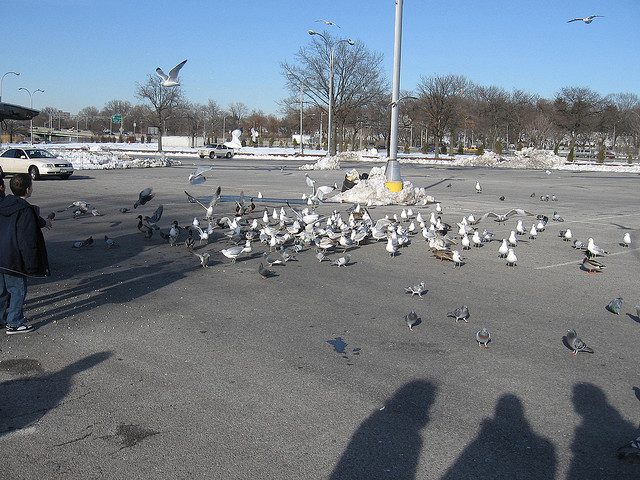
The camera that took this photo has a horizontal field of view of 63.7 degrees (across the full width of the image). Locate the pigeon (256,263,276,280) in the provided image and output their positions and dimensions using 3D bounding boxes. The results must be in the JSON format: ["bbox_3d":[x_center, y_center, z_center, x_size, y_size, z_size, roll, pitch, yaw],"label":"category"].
[{"bbox_3d":[-1.095,0.630,10.247,0.149,0.422,0.499,7,9,34],"label":"pigeon"}]

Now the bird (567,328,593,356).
[{"bbox_3d":[3.507,1.405,7.097,0.380,0.418,0.250,9,-10,0],"label":"bird"}]

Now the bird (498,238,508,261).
[{"bbox_3d":[4.261,0.224,11.947,0.188,0.386,0.507,5,15,20],"label":"bird"}]

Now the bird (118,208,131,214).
[{"bbox_3d":[-6.577,-0.983,17.437,0.288,0.208,0.107,-2,-7,27],"label":"bird"}]

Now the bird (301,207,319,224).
[{"bbox_3d":[-0.219,-0.570,12.693,0.273,0.344,0.556,2,-3,29],"label":"bird"}]

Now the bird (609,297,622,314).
[{"bbox_3d":[4.887,1.103,8.503,0.146,0.209,0.306,7,28,28],"label":"bird"}]

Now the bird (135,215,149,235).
[{"bbox_3d":[-4.649,-0.327,13.505,0.240,0.587,1.066,-5,15,-20],"label":"bird"}]

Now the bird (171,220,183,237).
[{"bbox_3d":[-3.858,-0.281,13.850,0.228,0.470,0.417,1,9,8],"label":"bird"}]

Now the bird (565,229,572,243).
[{"bbox_3d":[6.643,-0.104,13.791,0.151,0.310,0.487,7,16,26],"label":"bird"}]

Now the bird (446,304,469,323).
[{"bbox_3d":[2.219,1.173,8.204,0.178,0.260,0.352,-5,7,-31],"label":"bird"}]

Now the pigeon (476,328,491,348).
[{"bbox_3d":[2.303,1.387,7.263,0.122,0.216,0.341,1,12,6],"label":"pigeon"}]

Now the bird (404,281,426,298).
[{"bbox_3d":[1.722,0.869,9.213,0.420,0.322,0.170,8,-8,1],"label":"bird"}]

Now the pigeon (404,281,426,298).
[{"bbox_3d":[1.693,0.893,9.270,0.366,0.227,0.434,4,15,14],"label":"pigeon"}]

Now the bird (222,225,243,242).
[{"bbox_3d":[-2.016,-0.143,11.968,0.278,0.334,0.452,-2,15,-10],"label":"bird"}]

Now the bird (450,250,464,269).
[{"bbox_3d":[2.929,0.384,11.130,0.229,0.350,0.455,3,2,35],"label":"bird"}]

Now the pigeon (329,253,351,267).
[{"bbox_3d":[0.481,0.446,11.193,0.378,0.268,0.506,-5,16,-22],"label":"pigeon"}]

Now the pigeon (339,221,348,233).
[{"bbox_3d":[0.578,-0.355,12.791,0.072,0.214,0.151,22,-17,-34],"label":"pigeon"}]

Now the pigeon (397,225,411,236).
[{"bbox_3d":[2.079,-0.225,12.787,0.323,0.187,0.266,-2,-4,19],"label":"pigeon"}]

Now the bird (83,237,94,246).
[{"bbox_3d":[-5.654,0.046,12.528,0.147,0.208,0.444,7,-10,-38],"label":"bird"}]

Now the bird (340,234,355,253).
[{"bbox_3d":[0.610,0.016,11.984,0.330,0.229,0.402,4,15,14],"label":"bird"}]

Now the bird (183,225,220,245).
[{"bbox_3d":[-2.877,-0.192,12.390,0.654,0.380,0.685,2,2,-7],"label":"bird"}]

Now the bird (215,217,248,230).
[{"bbox_3d":[-2.246,-0.428,12.678,0.604,0.272,0.567,0,11,-6],"label":"bird"}]

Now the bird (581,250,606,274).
[{"bbox_3d":[5.858,0.524,10.969,0.383,0.266,0.791,11,18,35],"label":"bird"}]

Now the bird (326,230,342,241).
[{"bbox_3d":[0.267,-0.106,12.110,0.197,0.127,0.271,-1,11,-36],"label":"bird"}]

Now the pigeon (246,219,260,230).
[{"bbox_3d":[-1.657,-0.377,12.824,0.294,0.320,0.373,3,-2,34],"label":"pigeon"}]

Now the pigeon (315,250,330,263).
[{"bbox_3d":[0.039,0.361,11.557,0.315,0.272,0.801,1,15,0],"label":"pigeon"}]

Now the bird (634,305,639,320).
[{"bbox_3d":[5.095,1.189,8.280,0.062,0.226,0.084,-8,1,40],"label":"bird"}]

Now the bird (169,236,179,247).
[{"bbox_3d":[-3.646,0.007,12.759,0.189,0.286,0.400,-4,15,-17],"label":"bird"}]

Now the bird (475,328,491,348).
[{"bbox_3d":[2.325,1.391,7.381,0.129,0.215,0.357,0,9,7],"label":"bird"}]

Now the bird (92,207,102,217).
[{"bbox_3d":[-7.262,-0.892,16.713,0.145,0.284,0.434,5,8,16],"label":"bird"}]
